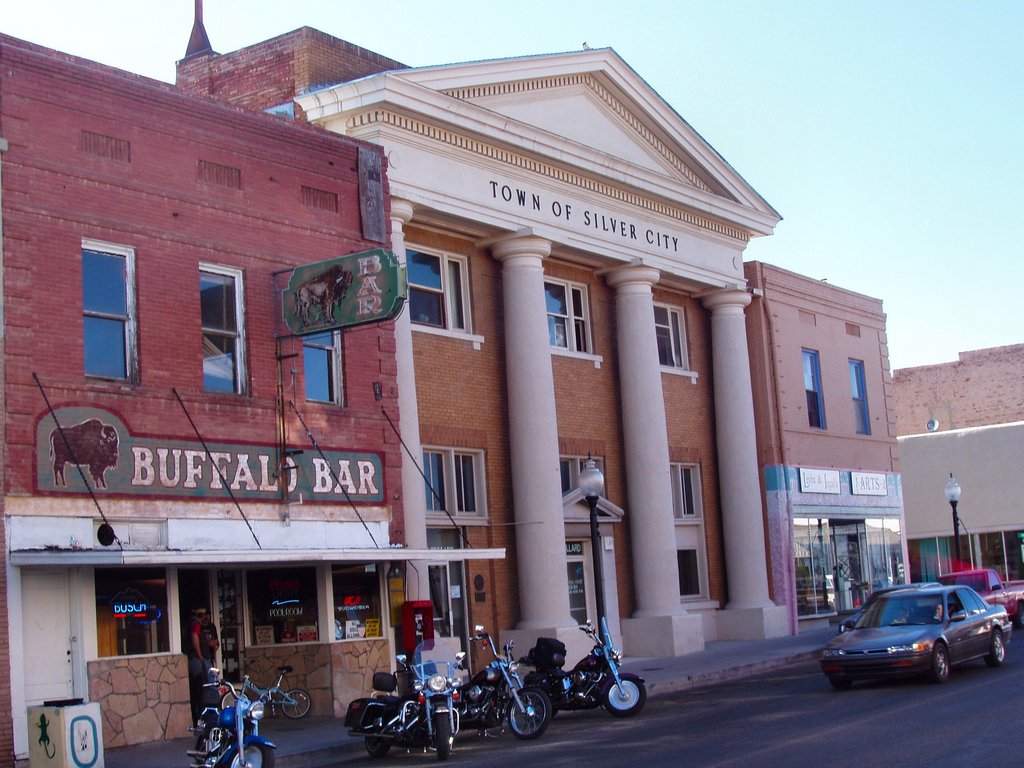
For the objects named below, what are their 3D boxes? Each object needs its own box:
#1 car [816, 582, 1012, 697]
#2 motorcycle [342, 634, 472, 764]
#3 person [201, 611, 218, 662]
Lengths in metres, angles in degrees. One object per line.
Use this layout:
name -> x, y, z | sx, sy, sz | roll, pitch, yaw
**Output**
car -> 7.826, 4.875, 19.099 | 4.277, 1.686, 1.699 | 4, -17, -40
motorcycle -> -1.613, 4.877, 15.046 | 1.648, 1.621, 2.398 | -6, -14, -8
person -> -5.620, 4.717, 18.228 | 0.244, 0.945, 0.579 | -5, -13, -10
